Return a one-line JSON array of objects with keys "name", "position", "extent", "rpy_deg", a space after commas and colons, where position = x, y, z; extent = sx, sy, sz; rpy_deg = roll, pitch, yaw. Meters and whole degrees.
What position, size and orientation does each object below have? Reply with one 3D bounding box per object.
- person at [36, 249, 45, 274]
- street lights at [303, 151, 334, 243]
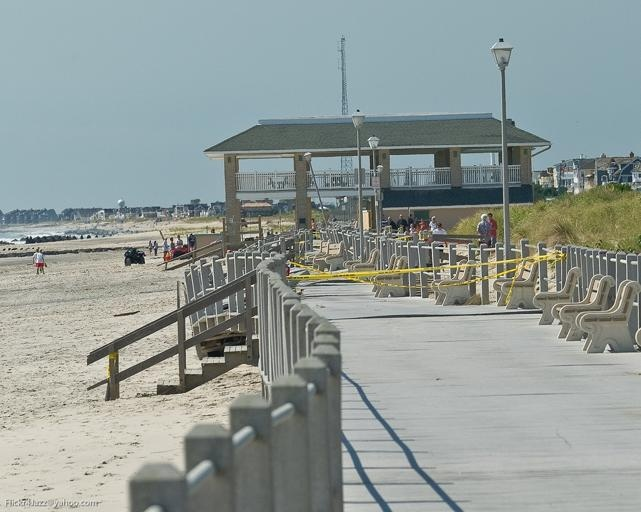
[{"name": "person", "position": [-15.137, 0.513, 71.722], "extent": [0.495, 1.185, 2.746], "rpy_deg": [-1, 3, -12]}, {"name": "street lights", "position": [-0.149, -2.188, 56.512], "extent": [0.817, 0.903, 4.563], "rpy_deg": [-14, -43, 13]}]
